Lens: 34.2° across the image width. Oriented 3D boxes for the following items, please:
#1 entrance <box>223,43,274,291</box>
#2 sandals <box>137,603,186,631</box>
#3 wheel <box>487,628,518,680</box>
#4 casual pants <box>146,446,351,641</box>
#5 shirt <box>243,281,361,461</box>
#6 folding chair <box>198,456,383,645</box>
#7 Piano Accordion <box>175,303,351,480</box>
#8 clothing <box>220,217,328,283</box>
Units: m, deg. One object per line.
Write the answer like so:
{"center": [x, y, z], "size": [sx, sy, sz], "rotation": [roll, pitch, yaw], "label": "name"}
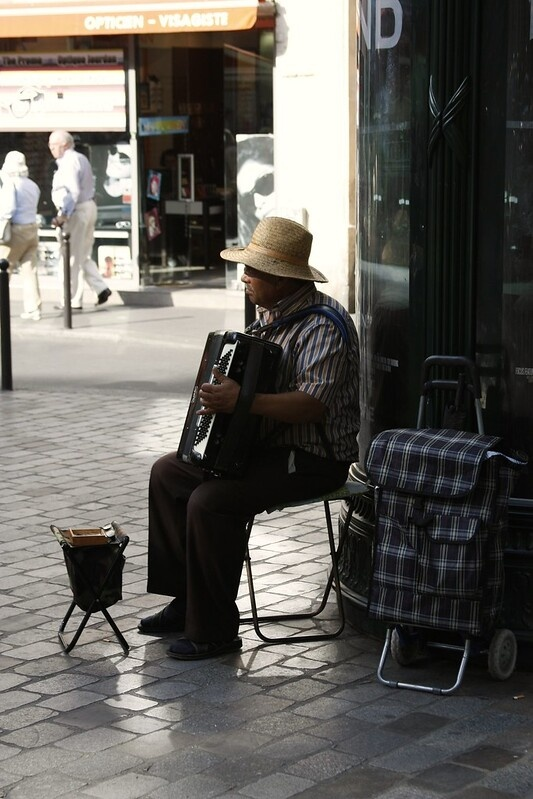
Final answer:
{"center": [-0.057, -2.723, 10.137], "size": [0.244, 3.031, 0.633], "rotation": [7, -8, -29], "label": "entrance"}
{"center": [-0.402, 0.875, 3.462], "size": [0.230, 0.102, 0.087], "rotation": [1, 3, -6], "label": "sandals"}
{"center": [0.760, 0.838, 2.832], "size": [0.045, 0.185, 0.163], "rotation": [3, 18, 37], "label": "wheel"}
{"center": [-0.085, 0.464, 3.415], "size": [0.724, 0.671, 0.701], "rotation": [1, 4, -19], "label": "casual pants"}
{"center": [0.120, -0.085, 3.204], "size": [0.332, 0.598, 0.622], "rotation": [-1, 8, -22], "label": "shirt"}
{"center": [0.094, 0.672, 3.472], "size": [0.482, 0.624, 0.418], "rotation": [-9, 8, -13], "label": "folding chair"}
{"center": [-0.135, -0.015, 3.134], "size": [0.768, 0.466, 0.283], "rotation": [-12, 28, -44], "label": "Piano Accordion"}
{"center": [0.002, -0.644, 3.387], "size": [0.308, 0.176, 0.312], "rotation": [11, 3, 33], "label": "clothing"}
